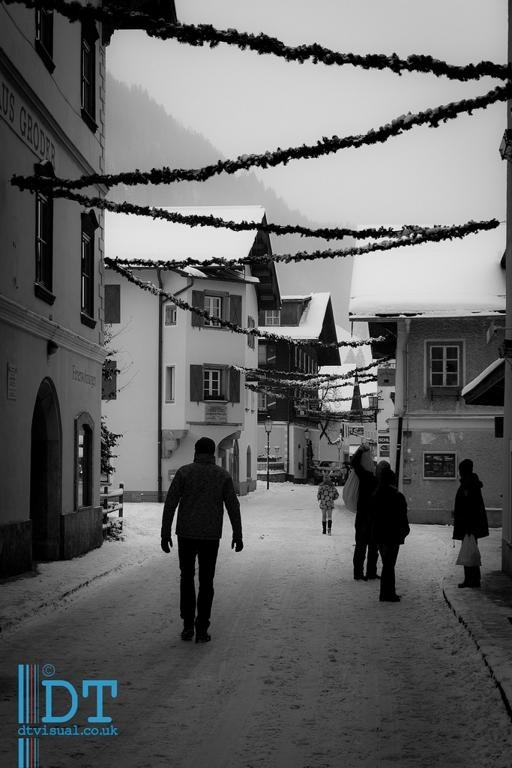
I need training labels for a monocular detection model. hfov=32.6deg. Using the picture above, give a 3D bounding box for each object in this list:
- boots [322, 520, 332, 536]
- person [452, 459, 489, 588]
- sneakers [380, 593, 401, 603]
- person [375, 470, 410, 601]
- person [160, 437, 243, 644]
[{"bbox_3d":[1.794,3.681,22.275,0.141,0.439,0.363,2,-21,-3],"label":"boots"},{"bbox_3d":[2.703,1.799,11.111,0.405,1.624,0.826,-1,-3,16],"label":"person"},{"bbox_3d":[1.555,2.511,10.233,0.253,0.090,0.152,-2,-4,11],"label":"sneakers"},{"bbox_3d":[1.623,1.827,10.529,0.388,1.487,0.673,-1,-3,8],"label":"person"},{"bbox_3d":[-0.483,1.360,7.742,0.716,1.741,1.049,0,-3,-4],"label":"person"}]
